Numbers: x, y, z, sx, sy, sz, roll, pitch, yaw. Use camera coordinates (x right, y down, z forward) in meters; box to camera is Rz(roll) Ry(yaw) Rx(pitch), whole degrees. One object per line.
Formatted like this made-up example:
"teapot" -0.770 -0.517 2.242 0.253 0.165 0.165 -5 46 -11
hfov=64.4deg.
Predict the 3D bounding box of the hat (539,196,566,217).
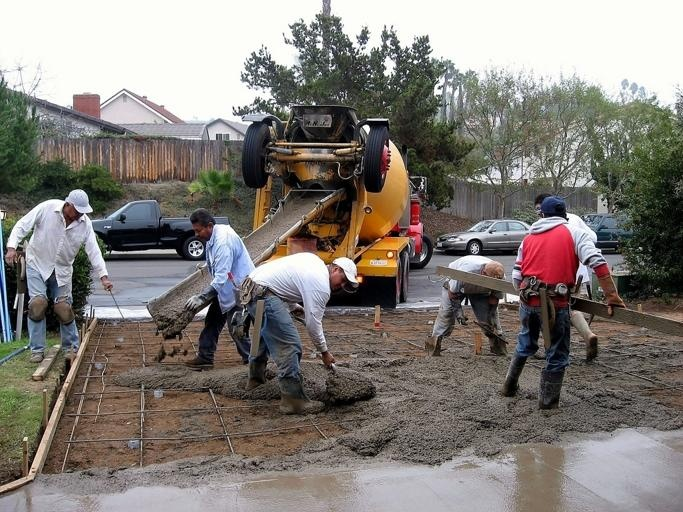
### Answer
"hat" 1.794 -0.414 4.594 0.144 0.116 0.218 2 17 9

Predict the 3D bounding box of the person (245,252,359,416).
"person" -0.495 0.653 5.027 0.969 1.394 0.986 7 3 39

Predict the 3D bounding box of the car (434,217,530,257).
"car" 5.158 -0.645 19.838 3.276 1.151 1.417 0 1 -23

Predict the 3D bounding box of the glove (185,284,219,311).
"glove" -1.358 0.407 5.467 0.137 0.159 0.480 -2 18 22

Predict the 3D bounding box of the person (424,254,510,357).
"person" 1.469 0.557 6.405 0.929 1.222 0.722 7 13 30

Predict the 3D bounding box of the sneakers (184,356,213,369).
"sneakers" -1.530 1.166 5.896 0.304 0.156 0.125 8 -2 -4

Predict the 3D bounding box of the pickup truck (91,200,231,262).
"pickup truck" -5.798 -0.790 16.623 4.328 1.924 1.868 1 1 -11

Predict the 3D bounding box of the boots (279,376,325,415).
"boots" -0.346 1.234 4.832 0.412 0.315 0.232 -1 2 -7

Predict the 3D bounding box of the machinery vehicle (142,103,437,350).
"machinery vehicle" -0.404 -1.110 9.652 1.916 2.821 6.919 3 10 18

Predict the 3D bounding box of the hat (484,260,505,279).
"hat" 1.680 0.154 5.911 0.177 0.212 0.201 3 1 -32

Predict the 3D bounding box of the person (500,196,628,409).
"person" 1.839 0.361 4.683 0.539 1.785 0.977 1 2 -31

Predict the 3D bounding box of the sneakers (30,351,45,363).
"sneakers" -3.239 1.087 5.774 0.125 0.103 0.164 0 6 -28

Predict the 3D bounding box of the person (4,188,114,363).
"person" -3.085 0.200 5.896 0.958 1.849 0.626 0 6 -28

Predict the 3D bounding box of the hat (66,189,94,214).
"hat" -2.902 -0.592 5.971 0.234 0.270 0.607 0 6 -28
